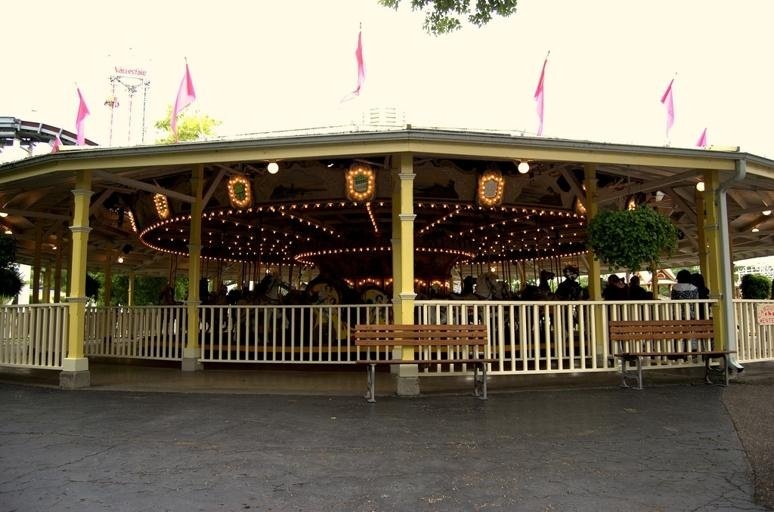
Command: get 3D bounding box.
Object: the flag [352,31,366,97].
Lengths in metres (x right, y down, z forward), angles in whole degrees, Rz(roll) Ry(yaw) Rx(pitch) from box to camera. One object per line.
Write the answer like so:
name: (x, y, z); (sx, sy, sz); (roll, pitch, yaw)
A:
flag: (-0.807, -5.338, 17.990); (0.498, 1.747, 0.070); (-8, 12, -39)

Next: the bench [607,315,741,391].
bench: (4.700, 1.608, 10.790); (2.040, 0.952, 0.700); (1, 2, -13)
